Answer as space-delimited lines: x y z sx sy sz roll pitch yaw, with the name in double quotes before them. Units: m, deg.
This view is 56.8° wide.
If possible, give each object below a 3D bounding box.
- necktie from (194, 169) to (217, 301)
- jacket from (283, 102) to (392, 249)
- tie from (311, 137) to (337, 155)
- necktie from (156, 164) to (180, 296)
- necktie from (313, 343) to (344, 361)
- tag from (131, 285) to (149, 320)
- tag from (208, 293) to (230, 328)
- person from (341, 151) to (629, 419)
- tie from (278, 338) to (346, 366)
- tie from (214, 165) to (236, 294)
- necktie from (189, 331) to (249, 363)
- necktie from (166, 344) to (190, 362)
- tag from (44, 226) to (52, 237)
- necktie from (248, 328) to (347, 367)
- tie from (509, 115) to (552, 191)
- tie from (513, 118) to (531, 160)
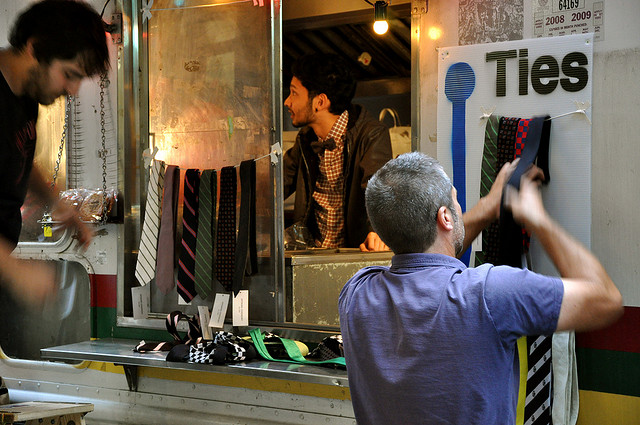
"necktie" -0.777 0.154 4.012 0.133 0.867 0.081 2 -5 -1
"jacket" 0.114 -0.255 4.316 1.054 1.116 0.595 3 0 41
"tie" 0.030 -0.521 4.580 0.178 0.126 0.100 0 -5 21
"necktie" -1.064 0.134 4.137 0.126 0.899 0.137 3 -5 -17
"necktie" 0.041 0.876 3.577 0.228 0.114 0.098 -2 -6 40
"tag" -1.278 0.668 4.201 0.015 0.217 0.112 -19 -13 39
"tag" -0.660 0.665 3.908 0.099 0.211 0.013 10 2 -31
"person" 0.768 0.335 2.523 0.739 1.424 0.971 -28 28 -36
"tie" -0.064 0.870 3.586 0.437 0.174 0.131 -4 -7 29
"tie" -0.633 0.133 4.014 0.170 0.860 0.061 -4 -9 24
"necktie" -0.624 0.861 3.646 0.359 0.184 0.205 2 -5 -8
"necktie" -0.863 0.902 3.653 0.086 0.033 0.092 9 28 9
"tag" -2.017 0.154 4.391 0.054 0.081 0.043 5 14 6
"necktie" -0.234 0.865 3.662 0.340 0.103 0.274 2 4 7
"tie" 1.064 -0.361 3.115 0.214 0.089 0.306 6 -35 31
"tie" 1.065 -0.414 3.142 0.096 0.040 0.355 20 29 10
